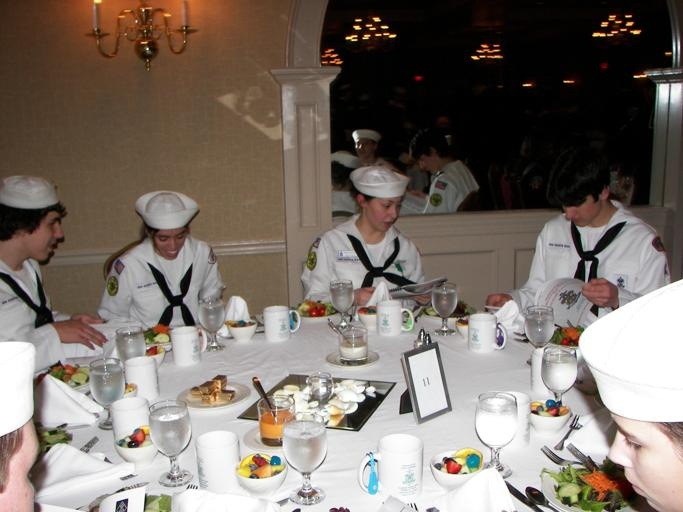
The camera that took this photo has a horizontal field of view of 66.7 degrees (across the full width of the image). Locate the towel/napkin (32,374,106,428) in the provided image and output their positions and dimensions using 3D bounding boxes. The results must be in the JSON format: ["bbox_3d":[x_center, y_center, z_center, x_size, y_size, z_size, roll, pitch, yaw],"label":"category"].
[{"bbox_3d":[-0.921,0.503,1.757,0.186,0.070,0.183,9,-1,8],"label":"towel/napkin"}]

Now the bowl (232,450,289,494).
[{"bbox_3d":[-0.218,0.562,1.405,0.122,0.115,0.062,6,22,-23],"label":"bowl"}]

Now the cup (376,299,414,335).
[{"bbox_3d":[0.239,0.302,2.597,0.202,0.149,0.131,6,11,31],"label":"cup"}]

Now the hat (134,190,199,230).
[{"bbox_3d":[-1.057,-0.280,3.163,0.325,0.221,0.367,-9,11,-27],"label":"hat"}]

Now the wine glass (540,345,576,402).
[{"bbox_3d":[0.717,0.386,1.708,0.100,0.158,0.089,1,12,25],"label":"wine glass"}]

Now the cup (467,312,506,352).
[{"bbox_3d":[0.638,0.344,2.355,0.125,0.141,0.190,-5,10,-33],"label":"cup"}]

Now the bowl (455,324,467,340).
[{"bbox_3d":[0.564,0.363,2.476,0.064,0.046,0.061,1,6,0],"label":"bowl"}]

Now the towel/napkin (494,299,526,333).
[{"bbox_3d":[0.851,0.301,2.609,0.200,0.067,0.158,1,11,15],"label":"towel/napkin"}]

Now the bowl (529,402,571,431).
[{"bbox_3d":[0.656,0.512,1.633,0.114,0.051,0.110,0,-1,0],"label":"bowl"}]

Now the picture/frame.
[{"bbox_3d":[0.289,0.453,1.797,0.202,0.263,0.022,-22,12,-29],"label":"picture/frame"}]

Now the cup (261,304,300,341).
[{"bbox_3d":[-0.294,0.338,2.567,0.199,0.155,0.124,2,3,-2],"label":"cup"}]

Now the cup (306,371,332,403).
[{"bbox_3d":[-0.063,0.458,1.823,0.103,0.113,0.081,-9,11,-24],"label":"cup"}]

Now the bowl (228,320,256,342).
[{"bbox_3d":[-0.482,0.364,2.540,0.111,0.062,0.107,-1,-2,0],"label":"bowl"}]

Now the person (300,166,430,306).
[{"bbox_3d":[0.116,-0.153,3.731,1.107,1.049,0.615,-7,19,-22],"label":"person"}]

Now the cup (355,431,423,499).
[{"bbox_3d":[0.159,0.573,1.451,0.200,0.137,0.121,-6,10,-26],"label":"cup"}]

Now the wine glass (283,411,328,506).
[{"bbox_3d":[-0.099,0.541,1.418,0.111,0.221,0.202,-6,10,-8],"label":"wine glass"}]

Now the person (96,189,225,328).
[{"bbox_3d":[-1.257,0.017,3.438,0.879,0.914,0.518,-13,53,-27],"label":"person"}]

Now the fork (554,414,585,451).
[{"bbox_3d":[0.703,0.552,1.605,0.023,0.023,0.165,39,38,16],"label":"fork"}]

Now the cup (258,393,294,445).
[{"bbox_3d":[-0.194,0.494,1.592,0.121,0.135,0.150,1,7,0],"label":"cup"}]

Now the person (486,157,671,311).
[{"bbox_3d":[1.571,-0.159,3.657,0.746,1.286,0.933,-37,29,-19],"label":"person"}]

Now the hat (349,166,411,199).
[{"bbox_3d":[0.231,-0.487,3.438,0.407,0.221,0.221,-1,11,20],"label":"hat"}]

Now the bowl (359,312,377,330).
[{"bbox_3d":[0.131,0.329,2.650,0.087,0.055,0.084,1,10,0],"label":"bowl"}]

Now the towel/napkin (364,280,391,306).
[{"bbox_3d":[0.206,0.209,2.789,0.052,0.137,0.112,15,12,-44],"label":"towel/napkin"}]

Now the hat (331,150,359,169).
[{"bbox_3d":[0.043,-0.902,4.837,0.205,0.076,0.154,14,2,38],"label":"hat"}]

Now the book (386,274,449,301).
[{"bbox_3d":[0.410,0.178,2.911,0.307,0.031,0.238,-11,-14,-17],"label":"book"}]
